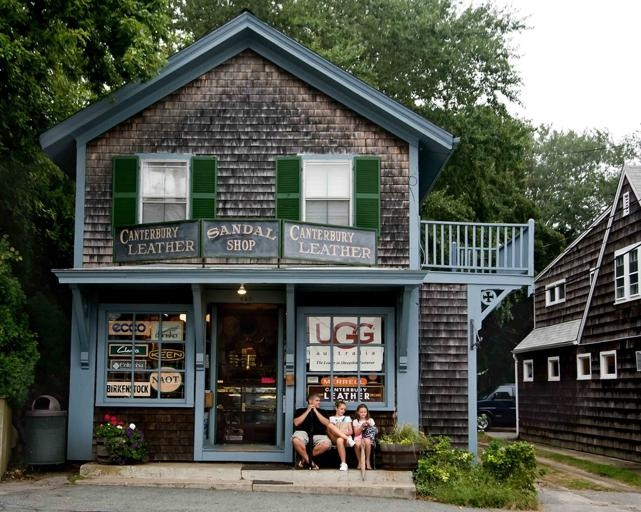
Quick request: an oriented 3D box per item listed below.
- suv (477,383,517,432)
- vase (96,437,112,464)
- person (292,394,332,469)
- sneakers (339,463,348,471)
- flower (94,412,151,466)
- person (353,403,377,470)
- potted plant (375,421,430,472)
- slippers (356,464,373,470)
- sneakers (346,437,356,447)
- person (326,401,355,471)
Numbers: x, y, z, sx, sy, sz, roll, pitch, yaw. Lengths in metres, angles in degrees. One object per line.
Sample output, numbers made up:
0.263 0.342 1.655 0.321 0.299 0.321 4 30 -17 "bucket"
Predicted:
6.955 5.952 36.658 2.045 1.434 1.410 2 -13 -1 "suv"
-4.598 4.099 19.616 0.370 0.637 0.432 1 -6 -12 "vase"
-0.235 3.680 19.891 0.724 1.693 0.855 5 -16 1 "person"
0.476 4.393 19.497 0.145 0.163 0.234 2 -14 0 "sneakers"
-4.279 3.892 19.818 0.883 0.914 0.935 9 -13 -24 "flower"
0.909 3.795 19.636 0.498 1.365 0.853 0 -13 9 "person"
1.739 4.075 19.924 0.797 0.774 0.964 1 -14 0 "potted plant"
0.918 4.390 19.471 0.332 0.127 0.745 3 -15 1 "slippers"
0.616 3.885 19.618 0.179 0.217 0.389 6 -15 -16 "sneakers"
0.431 3.776 19.723 0.593 1.470 0.526 2 -12 1 "person"
